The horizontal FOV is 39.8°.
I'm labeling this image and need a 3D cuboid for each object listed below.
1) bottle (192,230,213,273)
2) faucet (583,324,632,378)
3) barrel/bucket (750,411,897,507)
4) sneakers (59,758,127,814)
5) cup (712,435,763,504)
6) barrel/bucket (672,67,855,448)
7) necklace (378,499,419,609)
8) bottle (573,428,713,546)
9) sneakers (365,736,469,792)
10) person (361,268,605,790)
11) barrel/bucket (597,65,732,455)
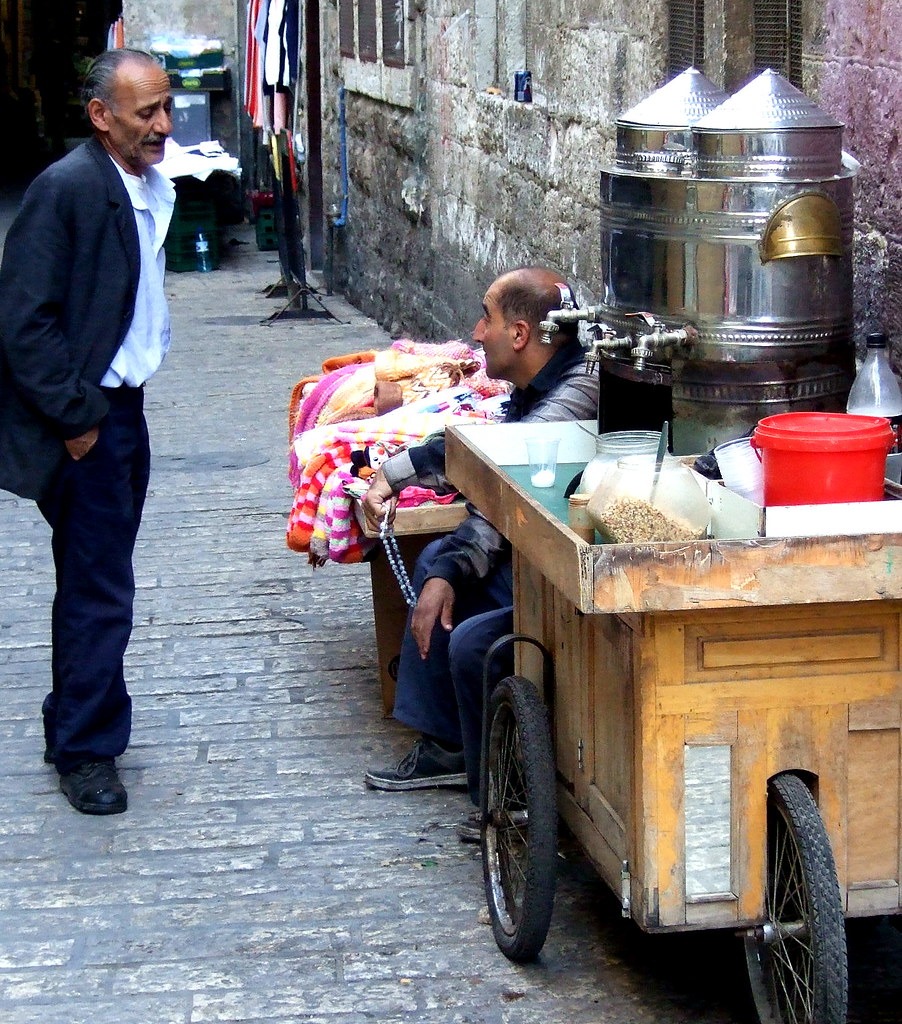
[{"bbox_3d":[-2.984,-3.140,15.093,0.197,0.505,0.318,-4,12,-13],"label":"bottle"},{"bbox_3d":[0.358,-0.343,2.723,0.113,0.114,0.061,-16,22,-38],"label":"faucet"},{"bbox_3d":[0.589,-0.103,2.010,0.161,0.106,0.168,-2,10,0],"label":"barrel/bucket"},{"bbox_3d":[-0.935,0.725,3.302,0.091,0.110,0.232,1,-3,-29],"label":"sneakers"},{"bbox_3d":[0.513,-0.079,2.228,0.083,0.116,0.115,-8,29,-10],"label":"cup"},{"bbox_3d":[0.649,-0.492,2.601,0.325,0.802,0.473,-5,21,-4],"label":"barrel/bucket"},{"bbox_3d":[-0.150,0.110,3.670,0.054,0.341,0.086,-4,22,13],"label":"necklace"},{"bbox_3d":[0.308,-0.039,2.000,0.194,0.194,0.196,1,4,3],"label":"bottle"},{"bbox_3d":[-0.071,0.707,3.504,0.329,0.160,0.115,2,-1,2],"label":"sneakers"},{"bbox_3d":[0.077,0.075,3.298,0.584,1.396,0.851,-7,13,-24],"label":"person"},{"bbox_3d":[0.507,-0.524,2.859,0.351,0.890,0.373,1,18,0],"label":"barrel/bucket"}]
